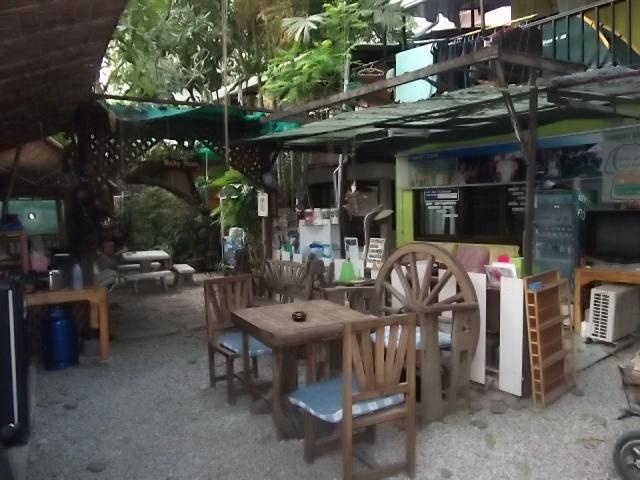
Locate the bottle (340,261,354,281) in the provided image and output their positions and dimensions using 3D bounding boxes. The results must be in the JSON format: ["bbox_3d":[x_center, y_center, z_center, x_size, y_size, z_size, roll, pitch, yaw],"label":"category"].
[{"bbox_3d":[0.393,0.445,7.790,0.232,0.257,0.239,2,7,22],"label":"bottle"}]

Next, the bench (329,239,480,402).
[{"bbox_3d":[0.884,0.858,5.493,0.741,1.678,1.672,1,-1,-23],"label":"bench"}]

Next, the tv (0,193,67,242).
[{"bbox_3d":[-4.727,-0.395,8.717,0.106,0.574,0.816,-1,2,36],"label":"tv"}]

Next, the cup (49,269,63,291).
[{"bbox_3d":[-3.467,0.535,7.037,0.205,0.234,0.202,3,2,0],"label":"cup"}]

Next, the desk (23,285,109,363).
[{"bbox_3d":[-3.293,1.114,7.094,0.876,0.972,0.535,-3,3,-20],"label":"desk"}]

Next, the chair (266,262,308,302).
[{"bbox_3d":[-0.476,0.595,7.765,0.231,0.405,0.595,-2,3,-34],"label":"chair"}]

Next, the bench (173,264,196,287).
[{"bbox_3d":[-3.300,0.821,12.818,0.422,0.422,0.986,-3,3,-18],"label":"bench"}]

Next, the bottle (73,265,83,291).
[{"bbox_3d":[-3.221,0.477,7.042,0.101,0.318,0.208,-4,3,-30],"label":"bottle"}]

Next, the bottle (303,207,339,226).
[{"bbox_3d":[0.027,-0.398,8.965,0.613,0.267,0.374,-2,3,8],"label":"bottle"}]

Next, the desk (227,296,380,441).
[{"bbox_3d":[-0.169,1.178,5.500,1.229,1.274,1.260,-3,5,-31],"label":"desk"}]

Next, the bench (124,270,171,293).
[{"bbox_3d":[-4.030,0.886,12.520,1.217,0.404,2.133,-4,3,-21],"label":"bench"}]
